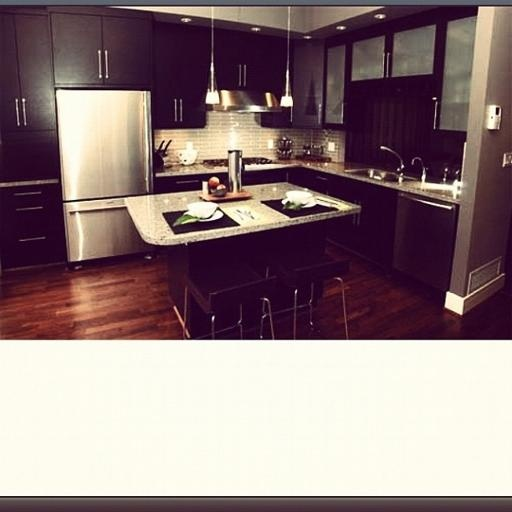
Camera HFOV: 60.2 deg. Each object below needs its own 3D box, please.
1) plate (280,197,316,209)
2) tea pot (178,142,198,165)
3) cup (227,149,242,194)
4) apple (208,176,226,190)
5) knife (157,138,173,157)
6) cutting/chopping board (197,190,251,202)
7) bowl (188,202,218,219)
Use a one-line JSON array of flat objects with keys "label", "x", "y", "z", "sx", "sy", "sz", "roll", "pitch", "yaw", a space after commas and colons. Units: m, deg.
[{"label": "plate", "x": 0.276, "y": -0.333, "z": 2.839, "sx": 0.235, "sy": 0.058, "sz": 0.214, "roll": 1, "pitch": 11, "yaw": 6}, {"label": "tea pot", "x": -0.731, "y": -1.150, "z": 4.905, "sx": 0.214, "sy": 0.335, "sz": 0.241, "roll": 3, "pitch": 14, "yaw": 0}, {"label": "cup", "x": -0.144, "y": -0.587, "z": 3.100, "sx": 0.092, "sy": 0.297, "sz": 0.185, "roll": -1, "pitch": 9, "yaw": -3}, {"label": "apple", "x": -0.277, "y": -0.505, "z": 3.105, "sx": 0.123, "sy": 0.065, "sz": 0.078, "roll": -15, "pitch": -4, "yaw": 27}, {"label": "knife", "x": -1.003, "y": -1.166, "z": 4.786, "sx": 0.143, "sy": 0.268, "sz": 0.067, "roll": -4, "pitch": -26, "yaw": -7}, {"label": "cutting/chopping board", "x": -0.206, "y": -0.426, "z": 3.139, "sx": 0.383, "sy": 0.065, "sz": 0.259, "roll": -5, "pitch": 12, "yaw": -22}, {"label": "bowl", "x": -0.319, "y": -0.268, "z": 2.599, "sx": 0.167, "sy": 0.089, "sz": 0.233, "roll": -2, "pitch": 11, "yaw": -9}]
